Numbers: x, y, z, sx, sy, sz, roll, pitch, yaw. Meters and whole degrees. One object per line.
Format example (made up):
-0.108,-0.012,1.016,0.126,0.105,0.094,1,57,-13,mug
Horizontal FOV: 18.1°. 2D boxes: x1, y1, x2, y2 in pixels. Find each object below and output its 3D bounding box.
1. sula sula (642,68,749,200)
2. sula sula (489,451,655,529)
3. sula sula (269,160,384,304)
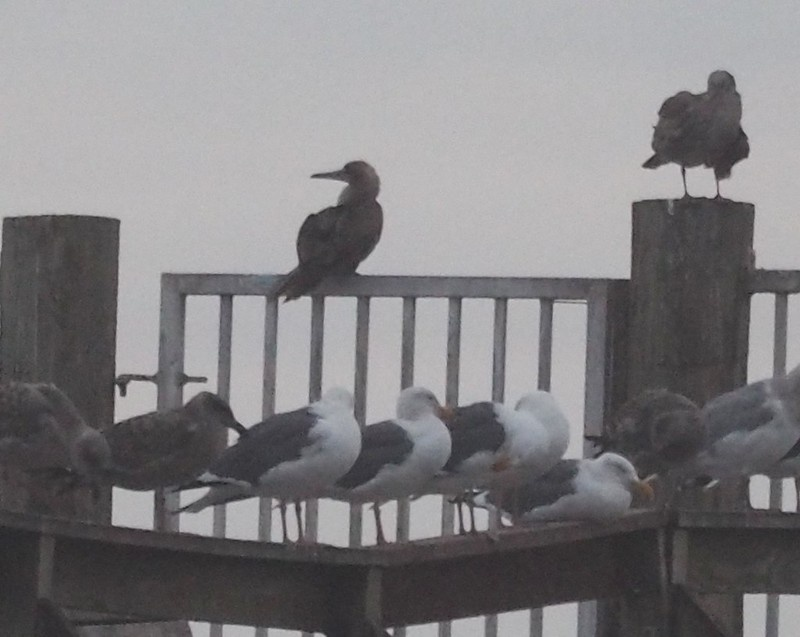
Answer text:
1.483,-0.933,13.134,0.534,0.820,0.451,13,-13,-11,sula sula
0.817,0.844,11.994,0.586,0.307,0.343,-2,-5,5,sula sula
-0.388,-0.437,13.028,0.623,0.768,0.407,-6,-6,-3,sula sula
